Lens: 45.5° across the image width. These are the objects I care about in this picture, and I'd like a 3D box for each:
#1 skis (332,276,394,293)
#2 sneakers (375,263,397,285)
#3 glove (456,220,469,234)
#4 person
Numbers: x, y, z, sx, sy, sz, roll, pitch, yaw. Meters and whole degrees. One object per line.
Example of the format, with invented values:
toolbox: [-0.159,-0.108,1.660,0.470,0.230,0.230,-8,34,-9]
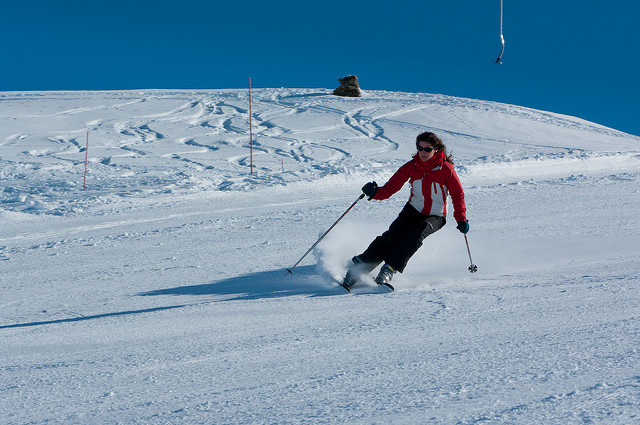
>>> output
skis: [0.474,0.961,9.832,0.932,0.140,0.236,4,34,17]
sneakers: [0.866,0.798,9.887,0.296,0.284,0.251,25,-11,12]
glove: [1.903,0.186,10.140,0.141,0.206,0.350,-1,9,10]
person: [1.188,-0.094,10.190,1.542,1.944,1.312,-1,12,9]
